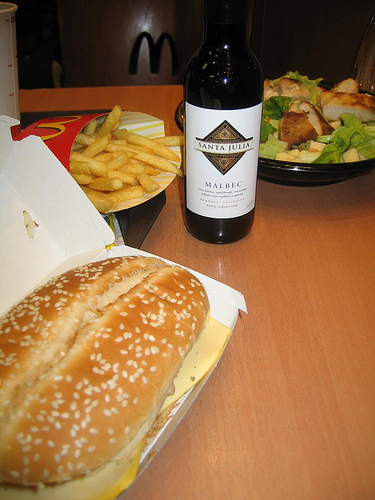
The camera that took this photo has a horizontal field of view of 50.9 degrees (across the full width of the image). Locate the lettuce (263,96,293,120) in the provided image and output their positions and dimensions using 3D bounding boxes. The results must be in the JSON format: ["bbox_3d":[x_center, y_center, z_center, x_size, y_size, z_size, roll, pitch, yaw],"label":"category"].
[{"bbox_3d":[0.262,-0.422,1.155,0.083,0.087,0.035,15,45,15],"label":"lettuce"}]

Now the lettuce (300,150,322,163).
[{"bbox_3d":[0.286,-0.220,0.913,0.046,0.016,0.049,11,40,16],"label":"lettuce"}]
